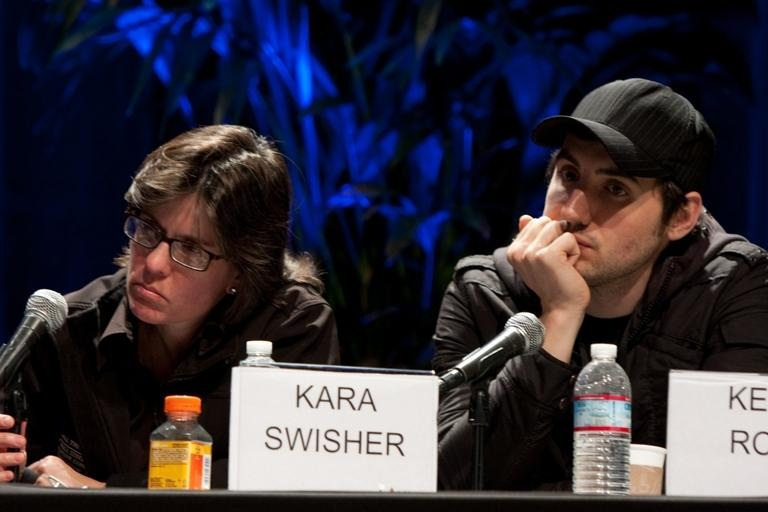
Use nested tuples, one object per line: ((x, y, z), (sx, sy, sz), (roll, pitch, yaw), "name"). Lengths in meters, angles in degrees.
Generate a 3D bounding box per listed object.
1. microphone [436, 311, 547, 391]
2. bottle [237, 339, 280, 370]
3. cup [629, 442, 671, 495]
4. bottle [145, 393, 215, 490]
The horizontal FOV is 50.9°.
((0.305, 0.259, 2.238), (0.449, 0.115, 0.122), (-18, -6, -39), "microphone")
((-0.338, 0.256, 2.113), (0.084, 0.051, 0.081), (2, -4, 0), "bottle")
((0.673, 0.577, 2.157), (0.143, 0.107, 0.131), (6, -17, 2), "cup")
((-0.534, 0.486, 2.121), (0.156, 0.231, 0.142), (4, -10, 1), "bottle")
